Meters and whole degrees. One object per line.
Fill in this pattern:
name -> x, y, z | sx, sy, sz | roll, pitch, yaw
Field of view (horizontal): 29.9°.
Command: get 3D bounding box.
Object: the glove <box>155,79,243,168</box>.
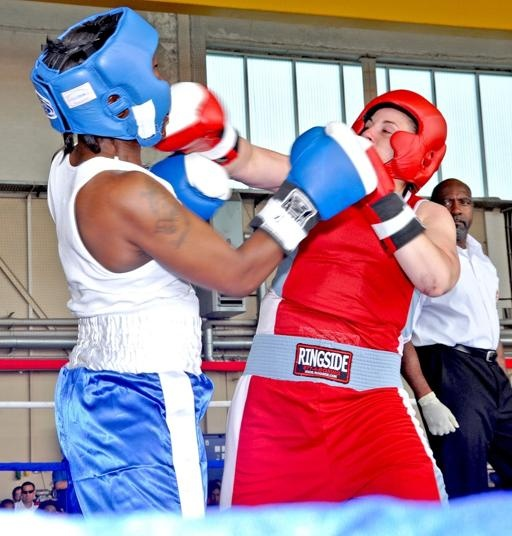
glove -> -0.148, -0.365, 2.532 | 0.285, 0.149, 0.233 | -17, -29, -13

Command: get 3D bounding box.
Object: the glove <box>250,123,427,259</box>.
glove -> 0.167, -0.147, 2.332 | 0.429, 0.336, 0.180 | 24, -31, -18

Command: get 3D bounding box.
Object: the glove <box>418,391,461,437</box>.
glove -> 0.650, 0.521, 3.391 | 0.137, 0.150, 0.050 | -32, -15, 6
